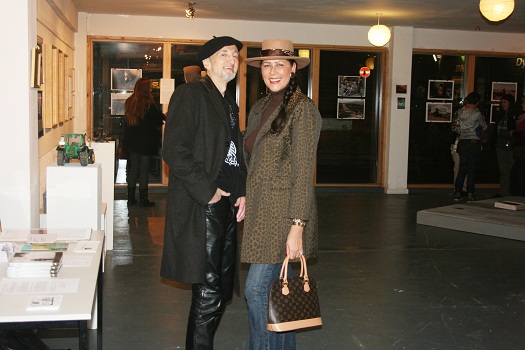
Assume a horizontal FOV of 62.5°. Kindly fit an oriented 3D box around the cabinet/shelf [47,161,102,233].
[{"bbox_3d":[-1.670,0.199,3.813,0.464,0.575,0.132,9,10,-6],"label":"cabinet/shelf"}]

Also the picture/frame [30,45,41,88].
[{"bbox_3d":[-2.028,-0.961,3.872,0.076,0.345,0.346,6,12,-24],"label":"picture/frame"}]

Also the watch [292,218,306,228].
[{"bbox_3d":[0.228,0.301,2.703,0.057,0.037,0.057,14,1,1],"label":"watch"}]

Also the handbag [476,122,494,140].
[{"bbox_3d":[4.665,-0.923,9.092,0.385,0.391,0.157,-7,21,-5],"label":"handbag"}]

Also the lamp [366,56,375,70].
[{"bbox_3d":[2.451,-2.538,9.855,0.255,0.298,0.256,-1,-3,5],"label":"lamp"}]

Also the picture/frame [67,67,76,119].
[{"bbox_3d":[-3.566,-1.508,8.052,0.153,0.913,1.562,6,12,-24],"label":"picture/frame"}]

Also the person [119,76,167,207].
[{"bbox_3d":[-2.195,-0.584,7.832,0.775,2.295,0.553,9,10,-9],"label":"person"}]

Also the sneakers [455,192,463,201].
[{"bbox_3d":[4.083,0.435,9.021,0.110,0.180,0.262,4,20,25],"label":"sneakers"}]

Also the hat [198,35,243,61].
[{"bbox_3d":[-0.297,-0.845,2.932,0.220,0.087,0.188,-18,1,-32],"label":"hat"}]
